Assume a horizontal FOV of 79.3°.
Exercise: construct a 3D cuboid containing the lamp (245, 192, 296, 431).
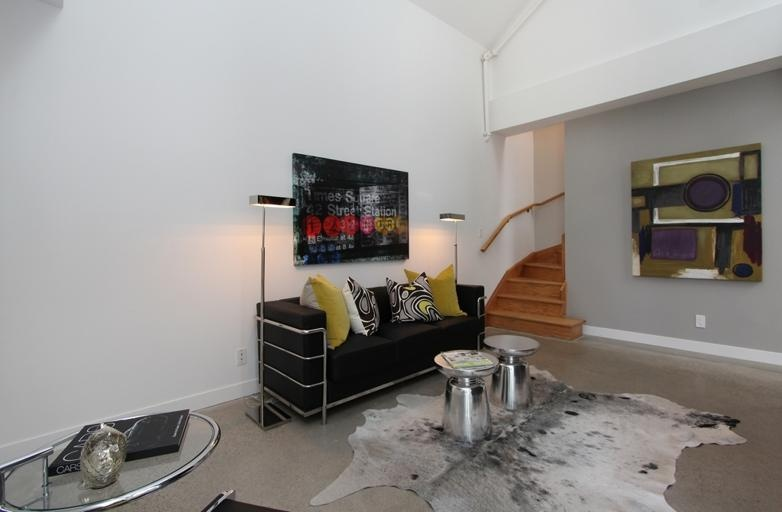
[{"bbox_3d":[-1.286,0.534,5.029,0.515,2.305,0.883,-2,5,-17],"label":"lamp"}]
